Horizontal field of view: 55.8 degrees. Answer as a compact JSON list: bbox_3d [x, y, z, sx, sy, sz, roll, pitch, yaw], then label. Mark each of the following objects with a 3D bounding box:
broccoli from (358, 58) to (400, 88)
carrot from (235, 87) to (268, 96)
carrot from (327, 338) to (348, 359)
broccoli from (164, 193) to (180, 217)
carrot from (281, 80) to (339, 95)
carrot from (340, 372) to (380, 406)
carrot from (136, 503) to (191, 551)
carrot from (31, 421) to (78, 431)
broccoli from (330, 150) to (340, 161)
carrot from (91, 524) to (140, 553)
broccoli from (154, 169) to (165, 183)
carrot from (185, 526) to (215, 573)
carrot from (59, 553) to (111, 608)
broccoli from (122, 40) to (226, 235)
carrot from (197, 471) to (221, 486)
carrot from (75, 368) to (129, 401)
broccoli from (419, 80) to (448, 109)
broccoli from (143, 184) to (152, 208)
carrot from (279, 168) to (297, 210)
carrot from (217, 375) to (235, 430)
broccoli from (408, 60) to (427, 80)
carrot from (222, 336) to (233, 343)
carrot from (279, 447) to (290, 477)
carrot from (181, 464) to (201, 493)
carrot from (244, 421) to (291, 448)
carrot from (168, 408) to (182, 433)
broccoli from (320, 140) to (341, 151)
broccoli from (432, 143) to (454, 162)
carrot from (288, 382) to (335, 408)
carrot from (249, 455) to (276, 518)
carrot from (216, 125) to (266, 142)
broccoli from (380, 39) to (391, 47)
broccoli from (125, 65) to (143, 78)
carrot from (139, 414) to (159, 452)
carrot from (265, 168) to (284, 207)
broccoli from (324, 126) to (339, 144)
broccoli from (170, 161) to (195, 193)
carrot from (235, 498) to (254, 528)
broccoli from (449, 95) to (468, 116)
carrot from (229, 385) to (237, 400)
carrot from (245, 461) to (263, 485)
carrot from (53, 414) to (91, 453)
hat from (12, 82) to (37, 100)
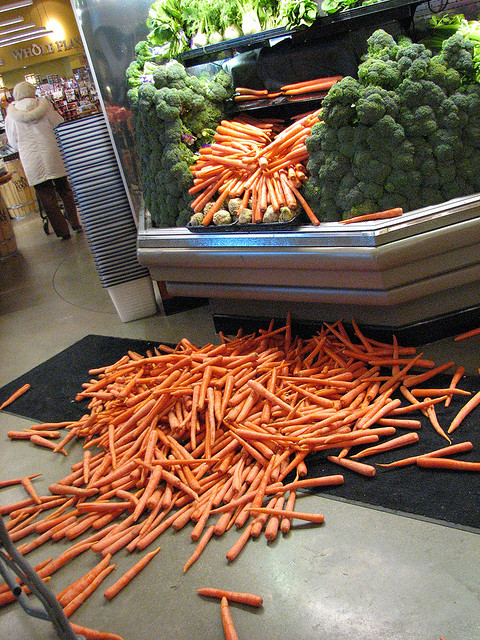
[{"bbox_3d":[0.551,-0.972,1.808,0.111,0.099,0.144,-14,27,-19],"label":"broccoli"},{"bbox_3d":[0.069,-1.254,2.478,0.171,0.038,0.045,15,43,22],"label":"carrot"},{"bbox_3d":[0.414,0.121,1.964,0.030,0.019,0.128,-27,59,-27],"label":"carrot"},{"bbox_3d":[-0.383,-0.659,2.595,0.090,0.119,0.032,1,21,31],"label":"broccoli"},{"bbox_3d":[0.322,-1.155,2.282,0.095,0.035,0.316,-28,28,-31],"label":"carrot"},{"bbox_3d":[0.461,0.246,1.715,0.283,0.043,0.044,-31,13,-39],"label":"carrot"},{"bbox_3d":[-0.228,0.619,1.352,0.168,0.024,0.023,-31,33,-9],"label":"carrot"},{"bbox_3d":[-0.837,0.478,2.055,0.195,0.028,0.029,-8,5,11],"label":"carrot"},{"bbox_3d":[0.396,-0.708,1.936,0.029,0.040,0.015,-1,-14,35],"label":"broccoli"},{"bbox_3d":[-0.367,0.646,1.342,0.024,0.025,0.166,25,30,34],"label":"carrot"},{"bbox_3d":[-0.459,-0.826,2.586,0.069,0.054,0.018,-56,15,1],"label":"broccoli"},{"bbox_3d":[-0.109,0.628,1.258,0.025,0.024,0.177,19,43,14],"label":"carrot"},{"bbox_3d":[-0.405,0.691,1.269,0.035,0.034,0.213,31,47,24],"label":"carrot"},{"bbox_3d":[-0.455,-1.064,2.599,0.479,1.086,0.855,-7,18,-31],"label":"broccoli"},{"bbox_3d":[-0.104,0.506,1.461,0.079,0.019,0.033,-26,27,-28],"label":"carrot"},{"bbox_3d":[-0.661,0.311,2.175,0.242,0.032,0.055,-30,17,5],"label":"carrot"},{"bbox_3d":[0.743,-0.870,1.742,0.083,0.108,0.060,9,-7,-21],"label":"broccoli"},{"bbox_3d":[-0.557,-0.759,2.724,0.025,0.092,0.088,2,8,-19],"label":"broccoli"},{"bbox_3d":[0.215,-0.626,2.110,0.047,0.039,0.246,-3,48,-9],"label":"carrot"},{"bbox_3d":[-0.048,0.298,1.699,0.035,0.031,0.221,-40,26,48],"label":"carrot"},{"bbox_3d":[0.674,-0.961,1.737,0.056,0.043,0.075,-11,47,34],"label":"broccoli"},{"bbox_3d":[-0.069,0.099,2.360,0.013,0.044,0.008,-43,13,-9],"label":"carrot"},{"bbox_3d":[0.147,0.452,1.455,0.012,0.014,0.081,-4,55,50],"label":"carrot"},{"bbox_3d":[-0.162,0.501,1.461,0.028,0.029,0.122,16,17,-29],"label":"carrot"},{"bbox_3d":[0.090,0.381,1.505,0.126,0.024,0.020,27,80,31],"label":"carrot"},{"bbox_3d":[-0.248,0.369,1.691,0.030,0.028,0.104,4,20,-13],"label":"carrot"},{"bbox_3d":[0.387,-0.733,1.945,0.056,0.027,0.058,9,-11,-40],"label":"broccoli"},{"bbox_3d":[0.800,-0.660,1.786,0.076,0.076,0.037,-1,26,25],"label":"broccoli"},{"bbox_3d":[0.243,0.250,1.681,0.043,0.043,0.237,-55,38,-7],"label":"carrot"},{"bbox_3d":[0.076,0.497,1.398,0.035,0.031,0.224,36,34,-4],"label":"carrot"},{"bbox_3d":[0.003,-1.017,2.475,0.313,0.051,0.064,15,70,11],"label":"carrot"},{"bbox_3d":[0.618,-1.179,1.922,0.033,0.020,0.037,-1,49,8],"label":"broccoli"},{"bbox_3d":[-0.624,-1.456,2.631,0.091,0.096,0.034,-7,-17,-4],"label":"broccoli"},{"bbox_3d":[-0.339,0.414,1.688,0.025,0.024,0.149,-11,41,49],"label":"carrot"},{"bbox_3d":[0.159,-0.625,2.127,0.036,0.032,0.200,-3,52,-15],"label":"carrot"},{"bbox_3d":[0.384,-0.779,1.910,0.034,0.048,0.062,5,34,29],"label":"broccoli"},{"bbox_3d":[-0.313,-0.784,2.466,0.080,0.153,0.119,-35,27,-13],"label":"broccoli"},{"bbox_3d":[0.019,0.547,1.312,0.028,0.029,0.110,19,69,12],"label":"carrot"},{"bbox_3d":[0.848,-0.844,1.766,0.063,0.080,0.046,-14,-10,17],"label":"broccoli"},{"bbox_3d":[-0.027,0.275,1.768,0.008,0.014,0.043,12,40,24],"label":"carrot"},{"bbox_3d":[0.045,0.473,1.434,0.026,0.024,0.091,-13,26,50],"label":"carrot"},{"bbox_3d":[-0.725,0.493,1.953,0.021,0.026,0.193,17,53,37],"label":"carrot"},{"bbox_3d":[-2.504,-2.628,5.213,0.232,0.180,0.171,-21,59,-2],"label":"hat"}]
